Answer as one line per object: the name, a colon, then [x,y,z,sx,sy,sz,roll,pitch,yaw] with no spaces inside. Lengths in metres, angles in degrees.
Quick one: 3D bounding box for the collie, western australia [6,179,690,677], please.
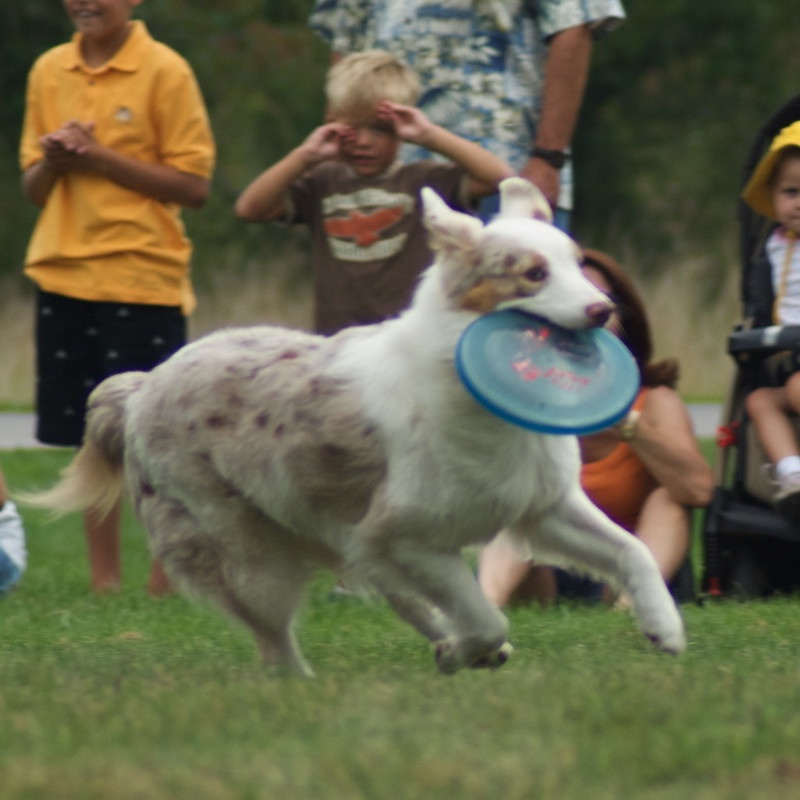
collie, western australia: [-0.136,0.163,7.031,1.071,1.530,2.702,-13,10,-43]
